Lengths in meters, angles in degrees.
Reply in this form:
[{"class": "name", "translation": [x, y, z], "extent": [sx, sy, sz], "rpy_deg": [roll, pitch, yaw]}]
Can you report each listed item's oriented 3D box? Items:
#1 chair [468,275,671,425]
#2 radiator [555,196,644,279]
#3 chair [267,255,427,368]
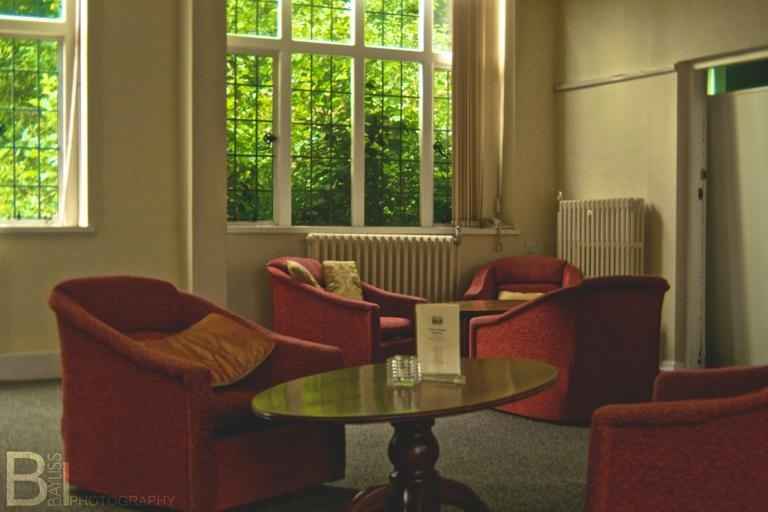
[{"class": "chair", "translation": [1.266, 0.516, 4.957], "extent": [1.077, 0.910, 1.005], "rpy_deg": [0, 0, -36]}, {"class": "radiator", "translation": [2.075, -0.151, 6.777], "extent": [0.209, 0.806, 0.761], "rpy_deg": [5, -5, -41]}, {"class": "chair", "translation": [-0.270, 0.479, 6.047], "extent": [1.051, 1.017, 0.879], "rpy_deg": [-5, -7, 36]}]
